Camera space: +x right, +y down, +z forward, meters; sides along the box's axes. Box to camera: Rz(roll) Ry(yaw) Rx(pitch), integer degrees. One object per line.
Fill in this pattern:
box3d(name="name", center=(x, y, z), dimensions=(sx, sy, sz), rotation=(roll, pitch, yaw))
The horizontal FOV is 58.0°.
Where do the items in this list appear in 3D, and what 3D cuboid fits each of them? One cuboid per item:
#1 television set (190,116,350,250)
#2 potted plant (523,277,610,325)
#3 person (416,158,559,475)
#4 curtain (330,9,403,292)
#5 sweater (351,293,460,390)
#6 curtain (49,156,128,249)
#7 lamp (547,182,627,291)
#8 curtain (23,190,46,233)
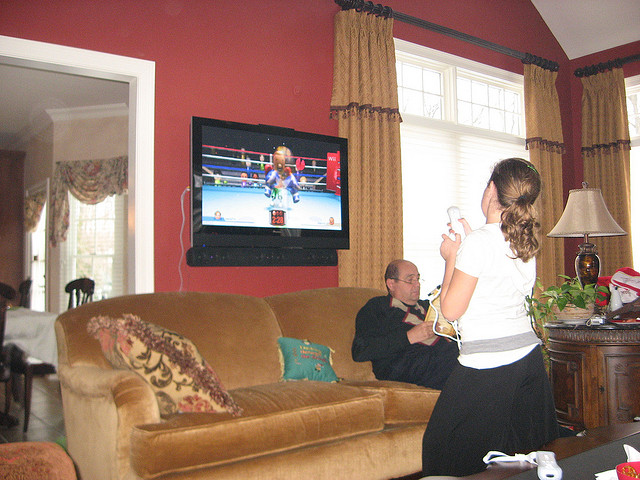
box3d(name="television set", center=(-0.425, -0.403, 4.438), dimensions=(0.936, 0.736, 0.045), rotation=(4, -8, -30))
box3d(name="potted plant", center=(1.899, 0.478, 4.431), dimensions=(0.469, 0.210, 0.413), rotation=(-10, 7, 37))
box3d(name="person", center=(0.844, 0.367, 2.835), dimensions=(0.672, 1.526, 0.218), rotation=(0, -3, -10))
box3d(name="curtain", center=(0.404, -0.767, 4.993), dimensions=(0.666, 2.379, 0.172), rotation=(1, -3, -25))
box3d(name="sweater", center=(0.605, 0.845, 4.328), dimensions=(0.987, 0.509, 0.590), rotation=(9, -7, -44))
box3d(name="curtain", center=(-3.084, -0.496, 7.720), dimensions=(1.062, 1.179, 0.173), rotation=(-1, -3, 15))
box3d(name="lamp", center=(2.283, -0.029, 4.994), dimensions=(0.439, 0.886, 0.456), rotation=(1, -3, -26))
box3d(name="curtain", center=(-4.211, -0.406, 8.550), dimensions=(0.065, 0.560, 0.587), rotation=(3, -2, -42))
